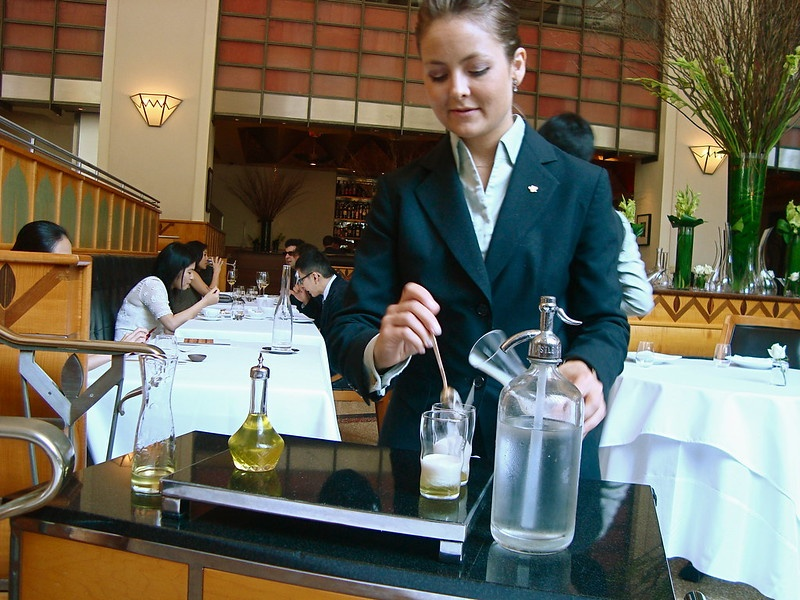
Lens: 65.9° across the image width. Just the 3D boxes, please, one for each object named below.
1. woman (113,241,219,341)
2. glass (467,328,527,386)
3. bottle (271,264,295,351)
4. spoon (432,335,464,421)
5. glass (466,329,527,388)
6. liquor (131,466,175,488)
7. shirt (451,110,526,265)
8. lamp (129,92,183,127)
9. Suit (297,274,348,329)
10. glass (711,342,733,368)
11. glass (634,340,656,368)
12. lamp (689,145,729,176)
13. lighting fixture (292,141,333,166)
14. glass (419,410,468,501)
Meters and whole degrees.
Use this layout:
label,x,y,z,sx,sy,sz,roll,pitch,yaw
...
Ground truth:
label,x,y,z,sx,sy,sz,roll,pitch,yaw
woman,-1.490,0.140,3.929,0.572,0.966,0.404,7,6,-14
glass,0.160,0.097,1.051,0.102,0.061,0.068,40,-16,11
bottle,-0.498,0.029,2.645,0.095,0.392,0.095,1,-12,0
spoon,0.079,0.153,1.069,0.040,0.180,0.026,-7,19,27
glass,0.161,0.099,1.049,0.105,0.063,0.070,39,-15,12
liquor,-0.419,0.296,1.015,0.051,0.024,0.051,2,1,-1
shirt,0.184,-0.233,1.256,0.158,0.290,0.072,0,-13,8
lamp,-3.303,-2.602,8.292,0.446,0.332,0.579,-2,8,11
Suit,-0.508,-0.011,3.924,0.211,0.173,0.379,7,25,3
glass,1.455,0.243,2.747,0.094,0.135,0.097,1,-6,-3
glass,1.036,0.232,2.616,0.090,0.126,0.093,2,-9,-5
lamp,4.528,-2.077,9.113,0.440,0.430,0.328,6,4,44
lighting fixture,-1.854,-3.114,13.188,0.464,0.497,0.539,-1,43,-1
glass,0.066,0.252,0.992,0.108,0.131,0.110,4,-6,-1
